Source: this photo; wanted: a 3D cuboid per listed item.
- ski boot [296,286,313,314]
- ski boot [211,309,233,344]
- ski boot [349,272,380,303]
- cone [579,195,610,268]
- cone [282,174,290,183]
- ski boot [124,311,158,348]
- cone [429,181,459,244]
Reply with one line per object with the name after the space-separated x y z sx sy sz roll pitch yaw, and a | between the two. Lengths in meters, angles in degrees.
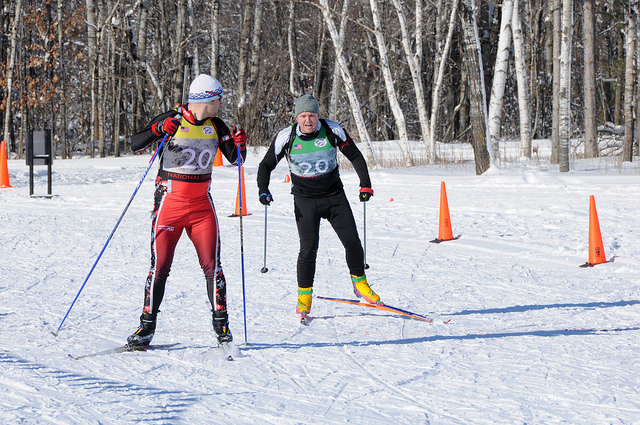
-0.218 1.092 9.254 0.187 0.398 0.421 4 11 -7 | ski boot
-1.144 1.310 8.152 0.214 0.376 0.212 -2 14 -12 | ski boot
0.605 0.997 9.486 0.184 0.369 0.530 -24 20 -28 | ski boot
4.450 0.295 11.523 0.436 1.178 0.448 0 -2 44 | cone
-1.045 -1.074 21.540 0.192 0.198 0.198 1 0 -4 | cone
-2.077 1.324 8.192 0.175 0.435 0.469 6 4 17 | ski boot
2.280 -0.024 12.846 0.482 1.025 0.830 4 14 11 | cone
